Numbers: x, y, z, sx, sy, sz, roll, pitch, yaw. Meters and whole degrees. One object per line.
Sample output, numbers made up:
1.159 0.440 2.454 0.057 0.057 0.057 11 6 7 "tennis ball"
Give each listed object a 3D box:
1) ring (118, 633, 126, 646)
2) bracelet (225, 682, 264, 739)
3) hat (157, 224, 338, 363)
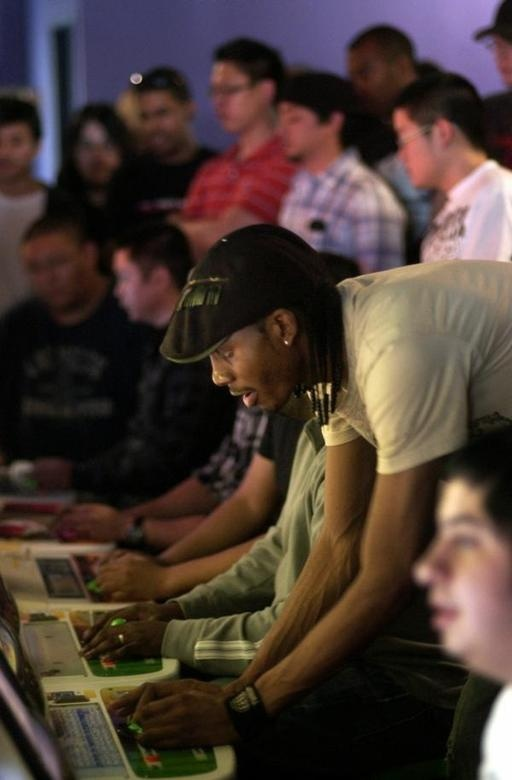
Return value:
-0.256 0.470 1.421 0.017 0.025 0.018 1 -15 -1 "ring"
-0.014 0.466 1.095 0.041 0.075 0.056 -21 49 -19 "bracelet"
-0.008 -0.119 1.057 0.244 0.132 0.163 -26 16 -13 "hat"
